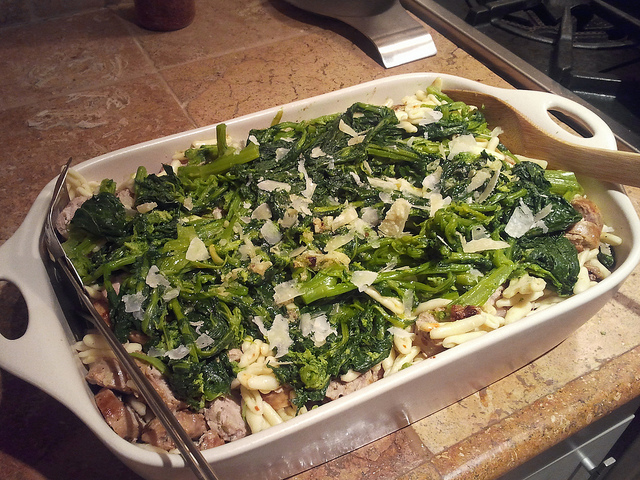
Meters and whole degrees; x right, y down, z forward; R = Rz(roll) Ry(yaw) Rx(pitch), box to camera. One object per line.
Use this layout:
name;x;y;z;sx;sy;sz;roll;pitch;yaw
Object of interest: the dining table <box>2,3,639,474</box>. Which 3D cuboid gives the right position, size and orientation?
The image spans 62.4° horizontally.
dining table;-0.392;-0.313;3.033;2.681;0.530;1.668;-23;60;-24
